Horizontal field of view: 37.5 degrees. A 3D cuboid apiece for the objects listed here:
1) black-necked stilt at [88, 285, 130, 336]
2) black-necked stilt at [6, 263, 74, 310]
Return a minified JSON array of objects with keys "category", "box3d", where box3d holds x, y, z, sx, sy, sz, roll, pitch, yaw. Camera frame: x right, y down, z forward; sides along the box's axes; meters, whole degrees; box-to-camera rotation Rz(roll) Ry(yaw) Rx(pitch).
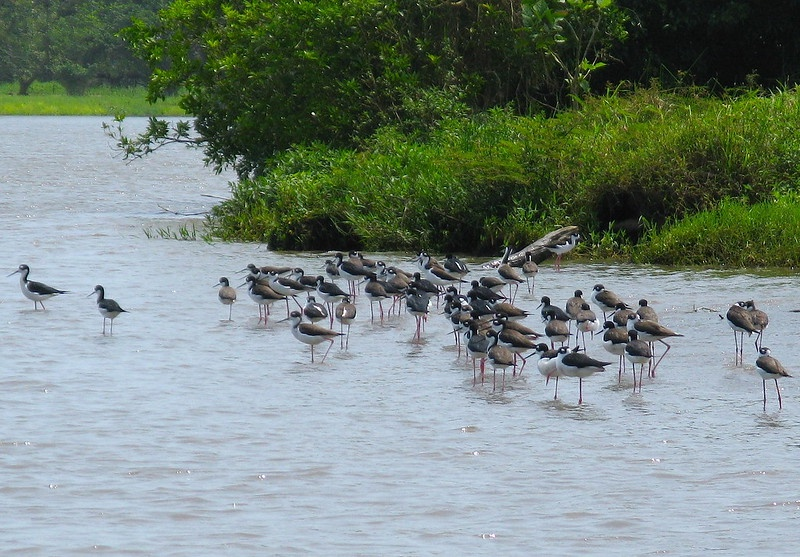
[{"category":"black-necked stilt","box3d":[-5.970,0.591,24.102,1.139,0.989,0.414,-5,-12,36]},{"category":"black-necked stilt","box3d":[-8.047,0.218,26.105,1.358,1.015,0.437,0,5,-25]}]
